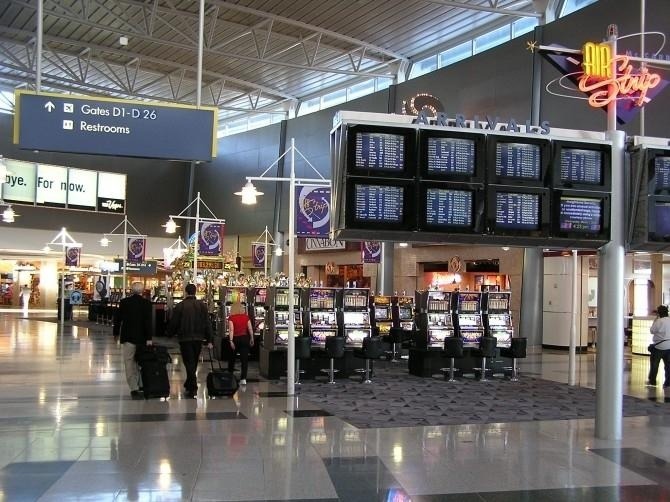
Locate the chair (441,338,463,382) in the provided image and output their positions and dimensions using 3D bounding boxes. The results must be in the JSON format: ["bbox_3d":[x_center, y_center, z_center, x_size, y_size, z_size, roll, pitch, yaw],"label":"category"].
[{"bbox_3d":[2.338,2.137,12.564,0.370,0.854,0.608,6,-4,10],"label":"chair"}]

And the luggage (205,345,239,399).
[{"bbox_3d":[-1.890,1.926,10.130,0.448,0.779,0.502,-11,-17,37],"label":"luggage"}]

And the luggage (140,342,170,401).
[{"bbox_3d":[-2.919,1.937,9.951,0.535,0.829,0.505,-1,-22,-29],"label":"luggage"}]

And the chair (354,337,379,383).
[{"bbox_3d":[0.617,2.076,12.175,0.427,0.857,0.849,6,-4,5],"label":"chair"}]

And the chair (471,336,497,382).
[{"bbox_3d":[3.060,2.173,12.804,0.410,0.868,0.767,5,-4,14],"label":"chair"}]

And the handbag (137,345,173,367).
[{"bbox_3d":[-2.936,1.693,9.926,0.471,0.314,0.346,5,5,-27],"label":"handbag"}]

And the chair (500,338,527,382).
[{"bbox_3d":[3.595,2.151,12.751,0.516,0.909,0.411,-11,-33,16],"label":"chair"}]

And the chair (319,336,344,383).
[{"bbox_3d":[-0.046,2.053,11.994,0.342,0.879,0.738,6,-4,2],"label":"chair"}]
